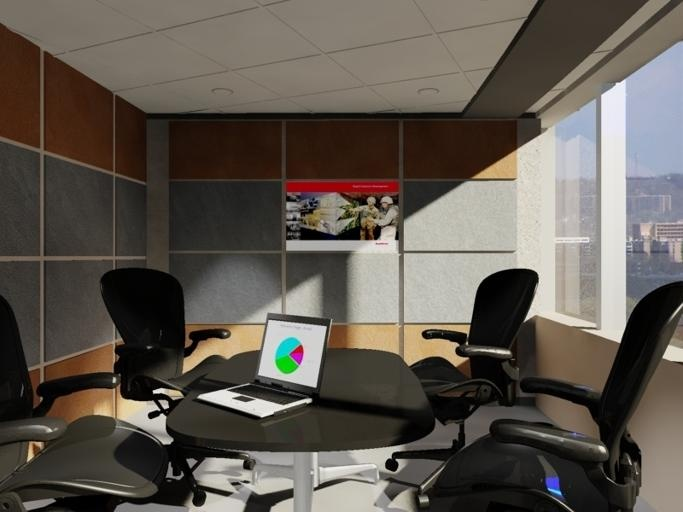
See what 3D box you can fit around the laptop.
[{"bbox_3d":[-0.412,0.586,3.130,0.524,0.422,0.569,0,3,42],"label":"laptop"}]
